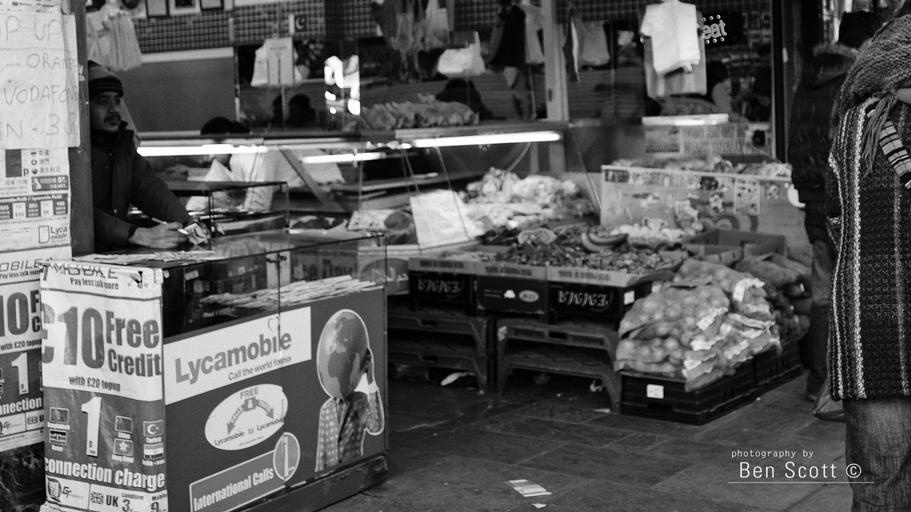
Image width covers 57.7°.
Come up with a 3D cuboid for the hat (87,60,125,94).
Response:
[{"bbox_3d":[-2.466,-1.235,5.763,0.207,0.219,0.287,-26,25,-30],"label":"hat"}]

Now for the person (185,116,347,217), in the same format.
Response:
[{"bbox_3d":[-1.896,-0.900,8.369,1.484,0.684,0.980,-7,8,-15],"label":"person"}]
